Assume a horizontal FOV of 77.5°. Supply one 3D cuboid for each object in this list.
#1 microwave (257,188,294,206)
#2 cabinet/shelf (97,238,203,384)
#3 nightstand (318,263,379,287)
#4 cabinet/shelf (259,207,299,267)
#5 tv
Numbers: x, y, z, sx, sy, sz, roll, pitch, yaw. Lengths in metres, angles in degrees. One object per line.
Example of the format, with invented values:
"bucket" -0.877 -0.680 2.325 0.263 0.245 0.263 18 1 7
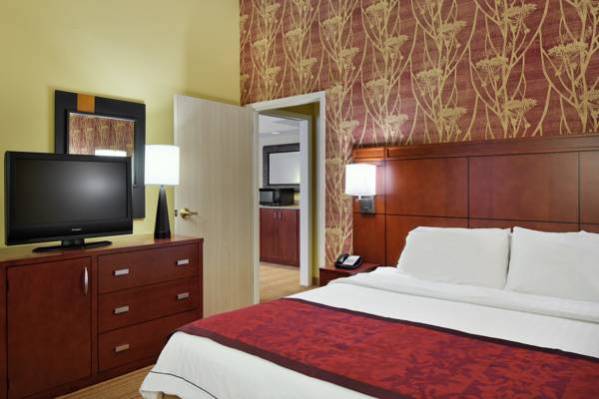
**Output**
"microwave" -0.435 -0.028 7.559 0.535 0.319 0.403 -3 -5 35
"cabinet/shelf" -1.485 0.949 3.516 0.428 1.058 1.131 -3 -2 35
"nightstand" 0.468 0.701 3.709 0.308 0.303 0.323 -2 -3 35
"cabinet/shelf" -0.359 0.729 7.206 1.113 1.116 0.393 1 2 31
"tv" -1.954 0.029 3.100 0.915 0.752 0.236 0 -4 -40
